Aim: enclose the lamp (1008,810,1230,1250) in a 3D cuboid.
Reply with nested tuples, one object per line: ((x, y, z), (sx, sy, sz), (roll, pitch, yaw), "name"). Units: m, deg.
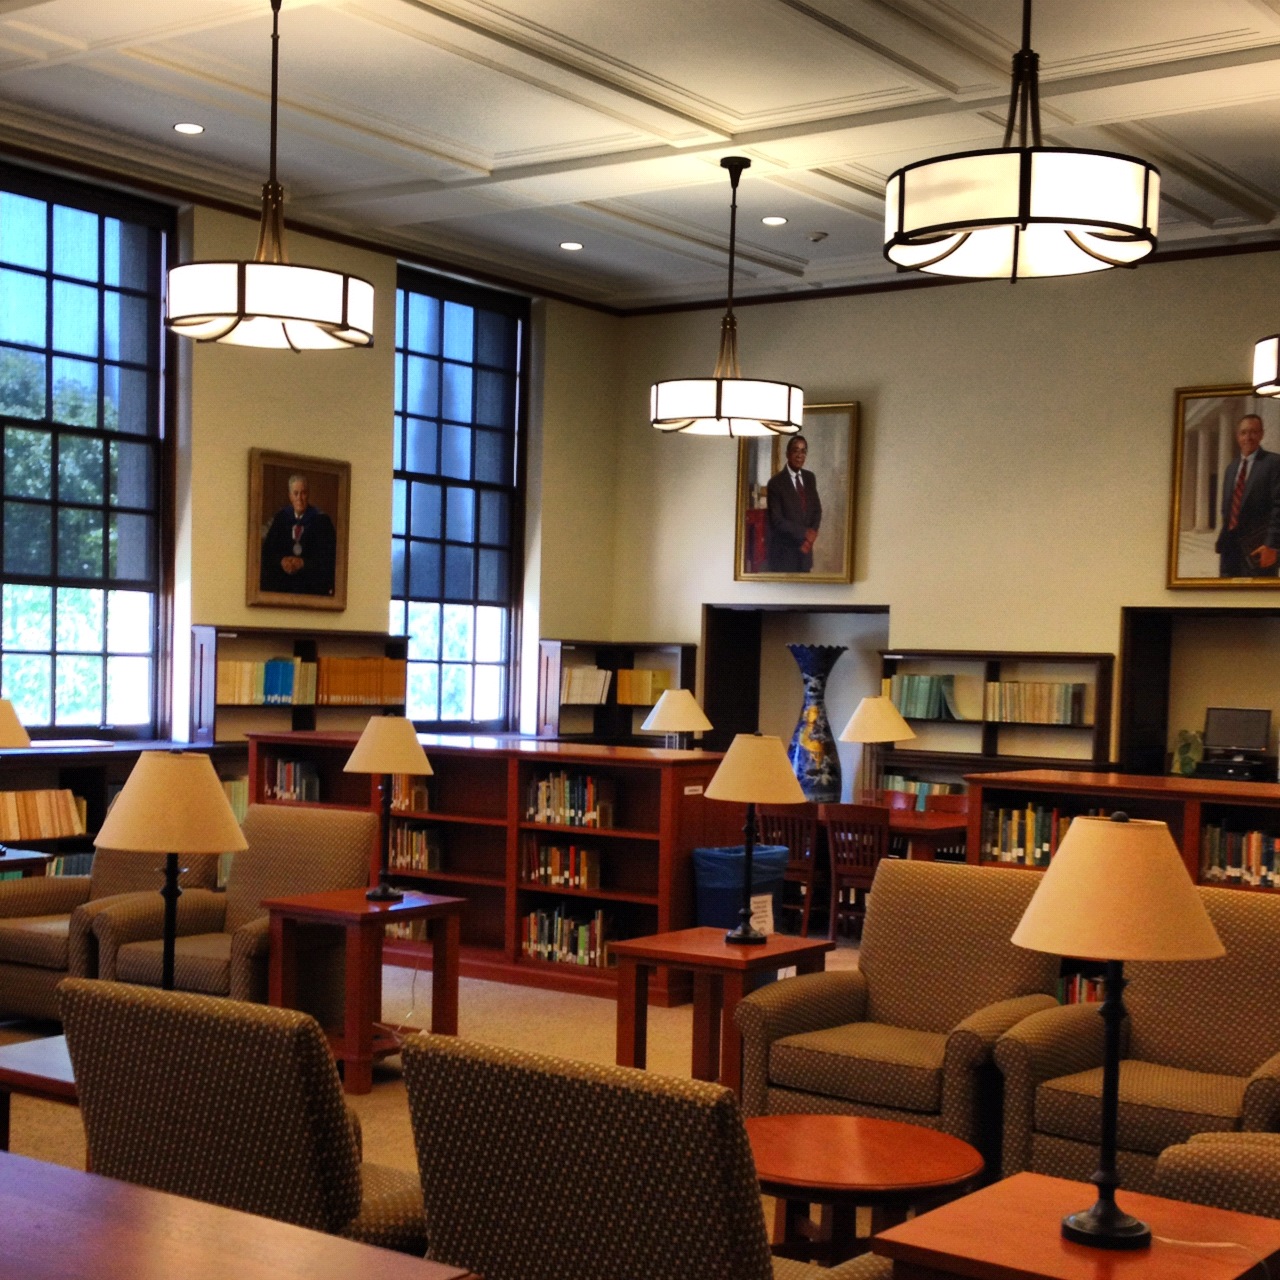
((0.874, 0.700, 2.333), (0.365, 0.775, 0.518), (1, 2, 18), "lamp")

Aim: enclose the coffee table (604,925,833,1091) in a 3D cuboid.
((0.250, 1.321, 5.020), (0.683, 0.731, 0.716), (-1, -2, 35), "coffee table")

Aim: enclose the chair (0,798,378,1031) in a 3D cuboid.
((-1.872, 1.178, 5.399), (1.242, 0.945, 0.744), (0, -5, 29), "chair")

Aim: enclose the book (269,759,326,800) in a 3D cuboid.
((-2.309, 0.950, 8.656), (0.239, 0.352, 0.346), (-1, 2, 21), "book")

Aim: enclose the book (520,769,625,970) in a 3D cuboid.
((-0.420, 1.337, 7.580), (0.588, 1.124, 0.266), (2, 3, 37), "book")

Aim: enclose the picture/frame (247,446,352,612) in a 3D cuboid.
((-2.539, -0.811, 9.500), (0.133, 1.149, 0.892), (2, 3, 38), "picture/frame")

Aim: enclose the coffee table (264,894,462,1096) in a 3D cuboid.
((-1.131, 1.445, 5.811), (0.863, 0.985, 0.792), (-2, -4, 28), "coffee table")

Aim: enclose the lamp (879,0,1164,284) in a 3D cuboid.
((1.076, -1.261, 3.677), (0.762, 0.889, 0.748), (-3, 7, -39), "lamp")

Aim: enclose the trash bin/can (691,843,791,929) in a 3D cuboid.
((0.584, 1.361, 7.256), (0.372, 0.520, 0.603), (-2, -3, 36), "trash bin/can")
